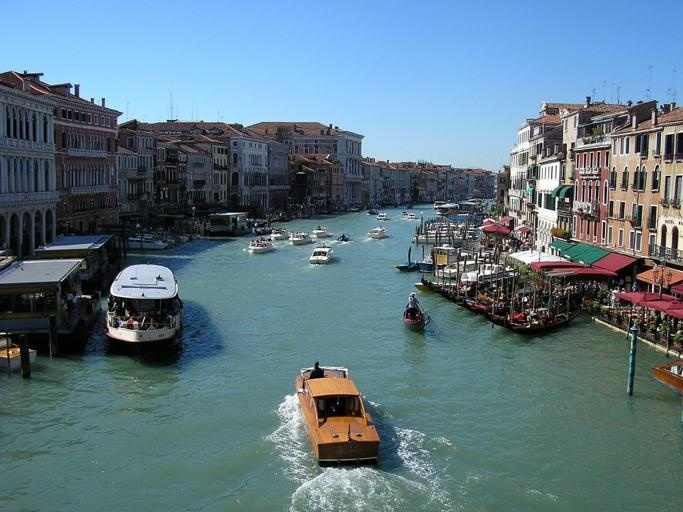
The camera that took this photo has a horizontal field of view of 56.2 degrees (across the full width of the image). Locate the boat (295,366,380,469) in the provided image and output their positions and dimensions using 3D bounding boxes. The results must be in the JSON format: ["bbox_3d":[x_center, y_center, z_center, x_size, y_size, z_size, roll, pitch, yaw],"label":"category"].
[{"bbox_3d":[-0.444,6.767,29.039,2.817,2.186,7.885,-1,13,-12],"label":"boat"}]

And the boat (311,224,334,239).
[{"bbox_3d":[-3.740,-4.209,116.898,1.915,2.197,5.490,2,14,8],"label":"boat"}]

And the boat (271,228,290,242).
[{"bbox_3d":[-10.605,-3.670,110.652,2.683,2.077,5.659,-1,2,1],"label":"boat"}]
